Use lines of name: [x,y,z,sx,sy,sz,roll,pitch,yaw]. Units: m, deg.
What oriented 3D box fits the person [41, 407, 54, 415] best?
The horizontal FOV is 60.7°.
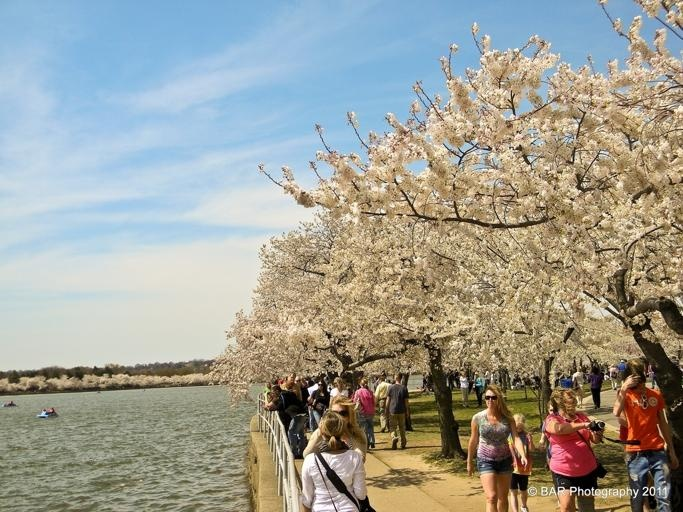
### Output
person: [-34.590,18.469,69.119,1.101,0.888,2.651,-2,-10,-20]
